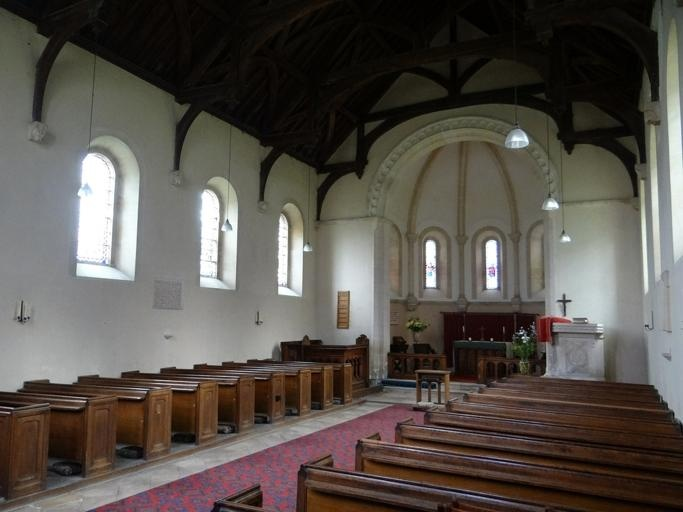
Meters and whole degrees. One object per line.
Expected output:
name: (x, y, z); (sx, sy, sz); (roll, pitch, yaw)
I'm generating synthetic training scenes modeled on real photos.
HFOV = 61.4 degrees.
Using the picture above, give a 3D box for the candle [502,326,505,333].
candle: (5.187, 2.337, 18.414); (0.131, 0.250, 0.046); (8, 7, 21)

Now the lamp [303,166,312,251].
lamp: (-0.962, -1.488, 16.915); (0.247, 2.233, 0.630); (5, 6, -4)

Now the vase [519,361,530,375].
vase: (4.610, 2.796, 14.522); (0.281, 0.372, 0.304); (1, -9, -1)

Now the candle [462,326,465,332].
candle: (4.031, 2.394, 18.991); (0.142, 0.196, 0.072); (9, 7, 25)

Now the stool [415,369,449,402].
stool: (1.984, 2.890, 12.639); (0.680, 0.822, 0.488); (1, -1, 26)

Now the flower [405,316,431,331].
flower: (2.388, 2.153, 17.899); (0.547, 0.461, 0.563); (5, -5, -28)
